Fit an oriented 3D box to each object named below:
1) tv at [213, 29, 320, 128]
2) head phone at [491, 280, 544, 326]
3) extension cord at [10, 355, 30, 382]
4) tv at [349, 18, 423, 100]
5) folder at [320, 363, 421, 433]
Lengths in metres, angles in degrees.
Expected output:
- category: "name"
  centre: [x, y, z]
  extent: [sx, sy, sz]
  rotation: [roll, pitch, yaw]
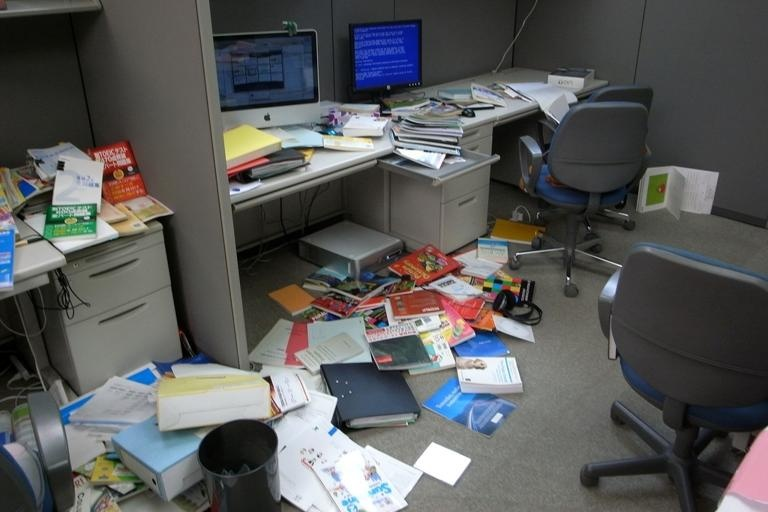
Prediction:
- category: "tv"
  centre: [-0.695, -1.023, 3.025]
  extent: [0.711, 0.492, 0.200]
  rotation: [-11, 30, -25]
- category: "head phone"
  centre: [0.821, 0.290, 3.258]
  extent: [0.177, 0.110, 0.300]
  rotation: [-33, 50, -26]
- category: "extension cord"
  centre: [-1.940, 0.599, 2.808]
  extent: [0.093, 0.039, 0.145]
  rotation: [-35, 54, -14]
- category: "tv"
  centre: [-0.002, -1.422, 3.766]
  extent: [0.574, 0.424, 0.059]
  rotation: [-15, 30, -26]
- category: "folder"
  centre: [-0.076, 0.698, 2.723]
  extent: [0.436, 0.101, 0.422]
  rotation: [0, 28, -16]
